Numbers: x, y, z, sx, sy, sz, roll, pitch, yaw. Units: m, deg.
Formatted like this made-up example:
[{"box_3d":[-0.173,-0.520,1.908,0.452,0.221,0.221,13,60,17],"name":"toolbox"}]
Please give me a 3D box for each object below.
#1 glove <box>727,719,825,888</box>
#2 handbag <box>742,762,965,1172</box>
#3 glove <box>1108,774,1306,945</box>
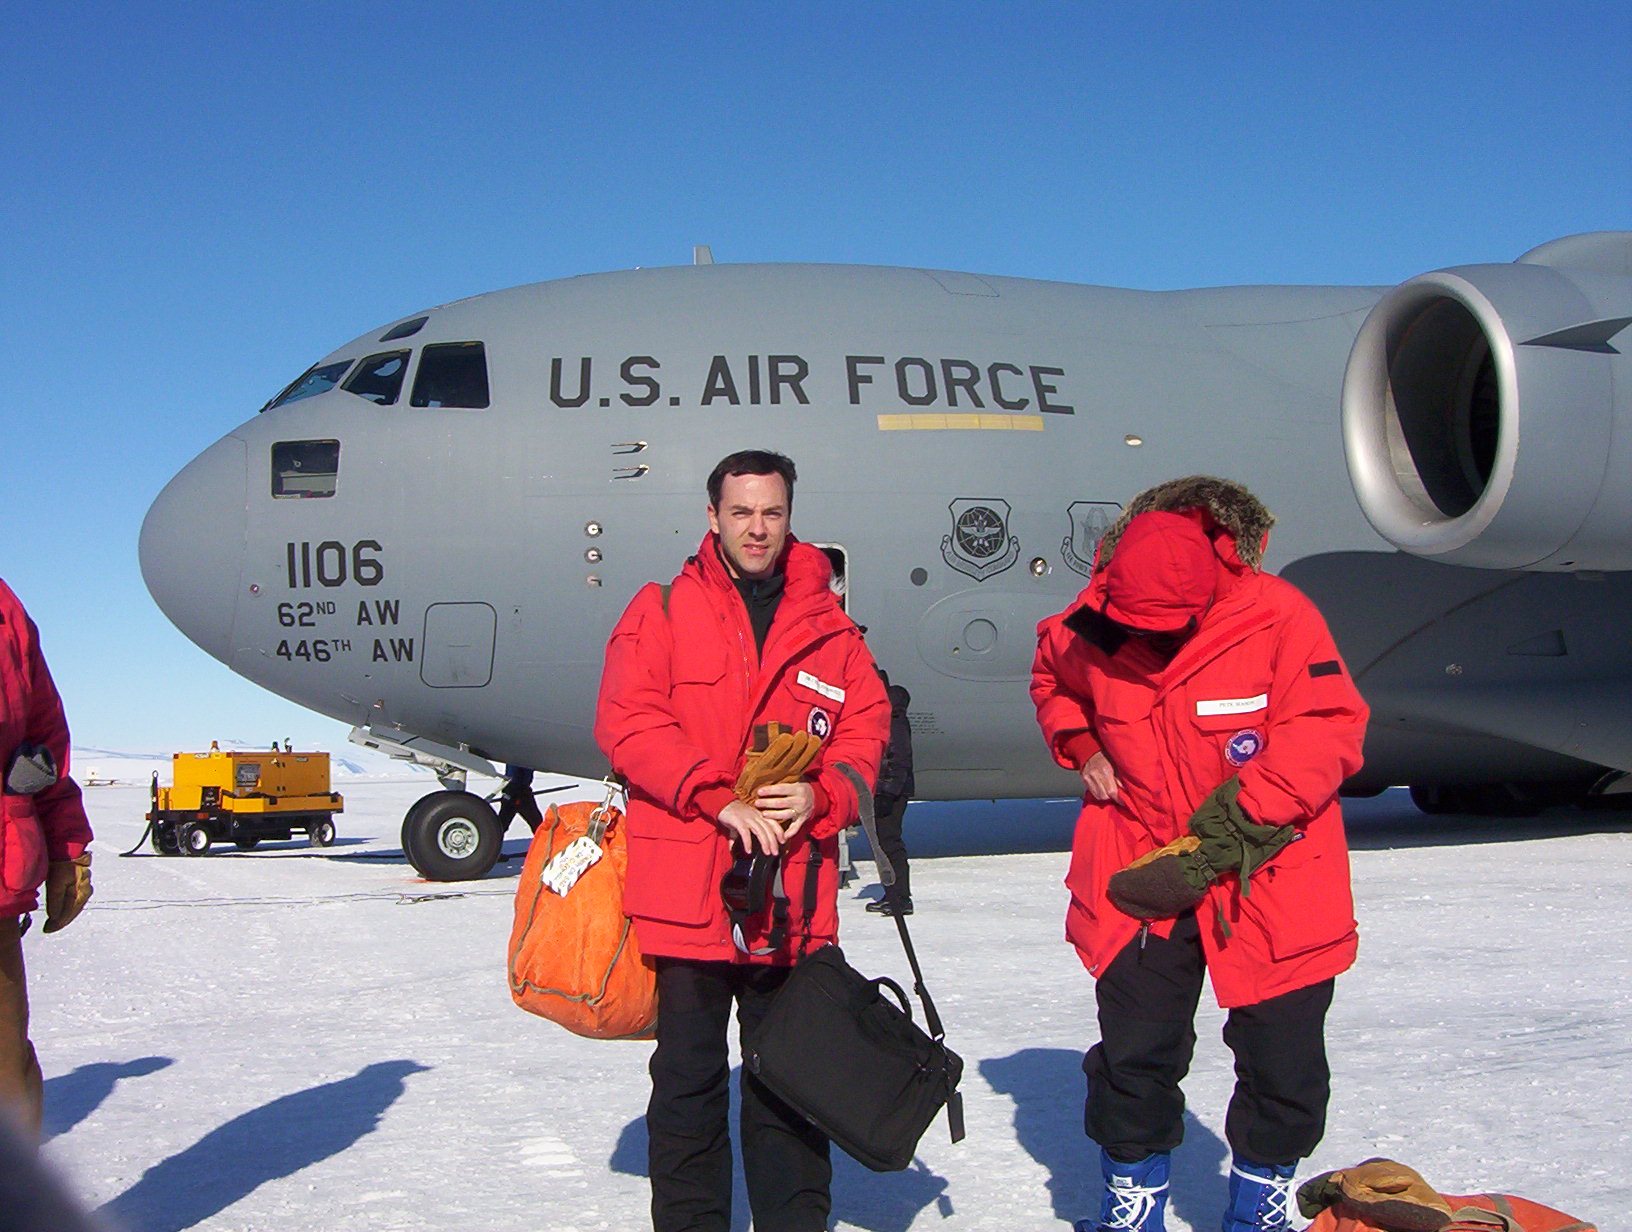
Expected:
[{"box_3d":[-0.197,0.665,5.075,0.202,0.623,0.255,21,-12,-17],"name":"glove"},{"box_3d":[0.129,1.496,4.986,0.725,0.640,0.322,1,1,2],"name":"handbag"},{"box_3d":[1.323,0.831,5.013,0.412,0.216,0.645,-10,3,44],"name":"glove"}]
